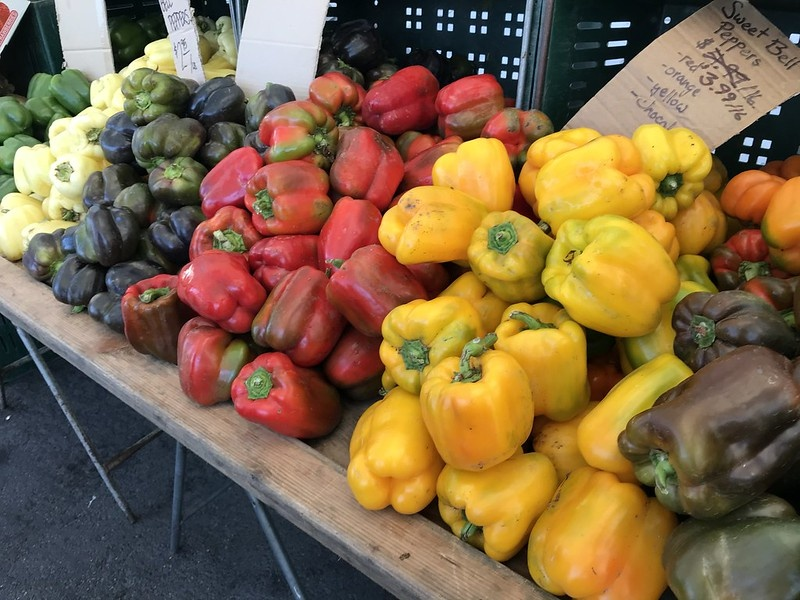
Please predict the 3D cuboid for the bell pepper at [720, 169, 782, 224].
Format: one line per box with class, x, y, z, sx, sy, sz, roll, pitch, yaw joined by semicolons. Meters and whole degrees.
bell pepper;1.339;-0.386;2.474;0.156;0.163;0.163;31;14;-24
